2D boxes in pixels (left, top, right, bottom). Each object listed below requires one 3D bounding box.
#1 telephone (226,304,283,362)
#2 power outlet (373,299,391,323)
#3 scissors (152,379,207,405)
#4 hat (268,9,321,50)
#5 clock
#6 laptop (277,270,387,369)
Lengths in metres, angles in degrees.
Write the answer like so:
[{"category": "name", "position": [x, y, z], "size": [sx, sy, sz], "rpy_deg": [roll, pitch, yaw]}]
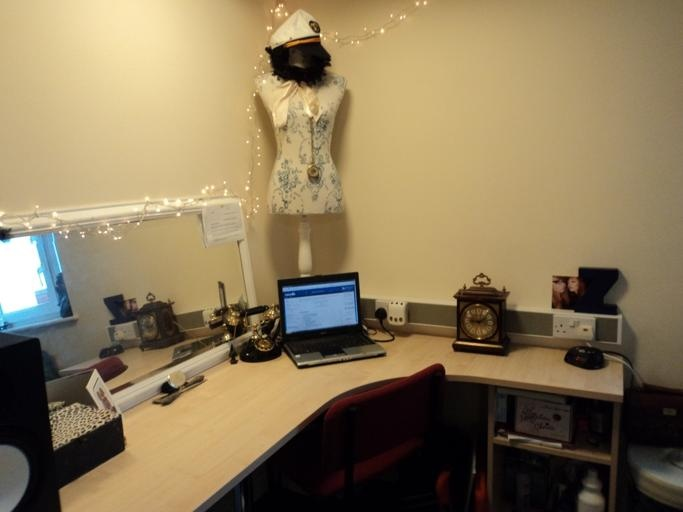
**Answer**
[{"category": "telephone", "position": [-0.404, 0.367, 2.444], "size": [0.221, 0.266, 0.231], "rpy_deg": [-3, -3, -29]}, {"category": "power outlet", "position": [0.217, 0.283, 2.639], "size": [0.086, 0.142, 0.102], "rpy_deg": [-1, -5, 18]}, {"category": "scissors", "position": [-0.681, 0.564, 2.088], "size": [0.056, 0.017, 0.180], "rpy_deg": [17, 16, 23]}, {"category": "hat", "position": [-0.208, -1.031, 2.320], "size": [0.211, 0.114, 0.163], "rpy_deg": [-14, 29, 28]}, {"category": "clock", "position": [0.676, 0.273, 2.403], "size": [0.250, 0.333, 0.251], "rpy_deg": [-1, 10, 20]}, {"category": "laptop", "position": [-0.059, 0.279, 2.334], "size": [0.474, 0.336, 0.443], "rpy_deg": [-3, 5, -3]}]
